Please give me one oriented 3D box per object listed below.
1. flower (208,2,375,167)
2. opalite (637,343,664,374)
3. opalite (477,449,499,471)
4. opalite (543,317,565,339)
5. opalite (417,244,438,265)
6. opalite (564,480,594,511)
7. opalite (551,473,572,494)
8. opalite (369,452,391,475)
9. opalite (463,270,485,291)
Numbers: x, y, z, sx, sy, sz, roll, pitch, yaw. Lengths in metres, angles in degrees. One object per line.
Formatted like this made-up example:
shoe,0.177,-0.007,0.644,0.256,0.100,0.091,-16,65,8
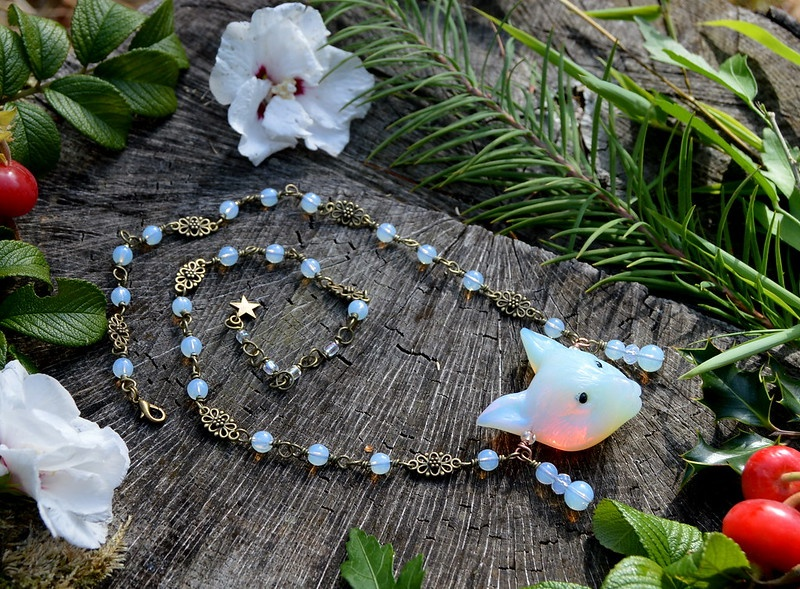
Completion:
flower,-0.338,-0.653,2.536,0.532,0.356,0.378,-3,64,-14
opalite,0.731,0.189,2.304,0.071,0.074,0.087,2,92,7
opalite,0.248,0.469,2.227,0.062,0.045,0.053,-1,64,-14
opalite,0.464,0.104,2.377,0.055,0.058,0.060,2,95,9
opalite,0.082,-0.122,2.495,0.054,0.056,0.067,-6,98,-32
opalite,0.489,0.551,2.162,0.070,0.034,0.067,-2,64,-14
opalite,0.443,0.524,2.176,0.054,0.030,0.045,-43,61,14
opalite,-0.054,0.475,2.212,0.062,0.051,0.050,7,62,-10
opalite,0.223,-0.038,2.418,0.050,0.035,0.061,-1,80,6
